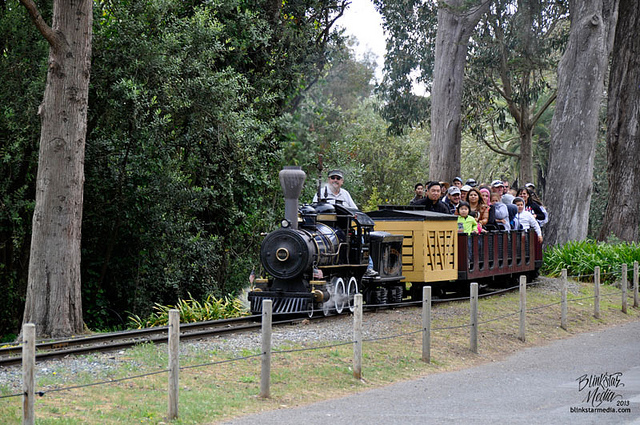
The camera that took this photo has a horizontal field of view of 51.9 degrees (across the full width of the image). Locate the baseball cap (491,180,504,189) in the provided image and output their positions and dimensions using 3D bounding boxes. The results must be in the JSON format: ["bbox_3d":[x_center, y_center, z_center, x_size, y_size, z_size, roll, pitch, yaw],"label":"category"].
[{"bbox_3d":[5.602,-0.897,21.008,0.272,0.190,0.360,-4,-4,-11],"label":"baseball cap"}]

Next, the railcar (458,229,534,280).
[{"bbox_3d":[5.517,1.246,20.360,0.408,1.438,4.336,-2,-3,41],"label":"railcar"}]

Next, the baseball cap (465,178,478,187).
[{"bbox_3d":[4.663,-0.916,20.431,0.271,0.215,0.398,-3,-2,-23],"label":"baseball cap"}]

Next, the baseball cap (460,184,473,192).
[{"bbox_3d":[4.438,-0.741,19.957,0.263,0.150,0.381,-1,-7,14],"label":"baseball cap"}]
